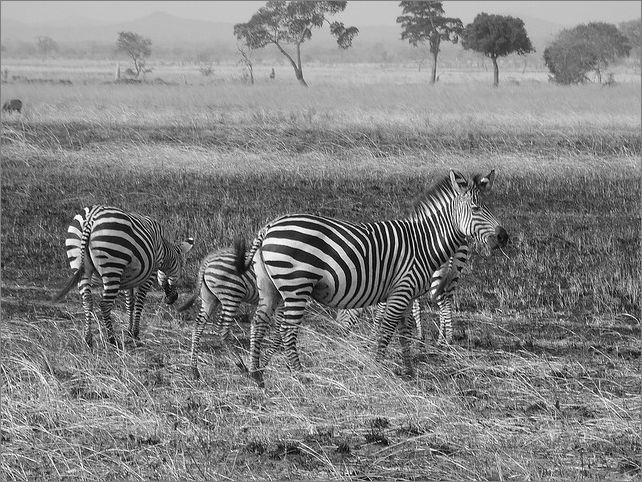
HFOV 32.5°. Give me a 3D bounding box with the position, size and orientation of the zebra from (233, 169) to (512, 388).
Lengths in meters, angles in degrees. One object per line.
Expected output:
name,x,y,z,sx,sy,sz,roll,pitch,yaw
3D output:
zebra,0.830,0.674,16.258,2.793,2.816,0.897,0,-2,-8

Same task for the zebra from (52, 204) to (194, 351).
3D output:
zebra,-2.880,0.461,16.866,0.901,1.992,3.496,0,0,17
